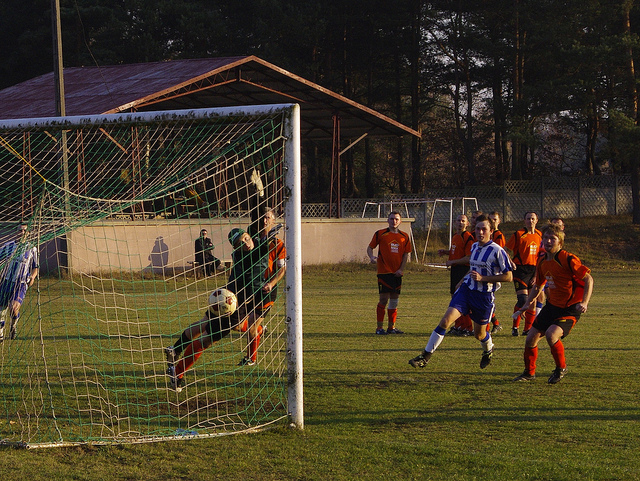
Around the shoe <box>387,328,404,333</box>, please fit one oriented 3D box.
[{"bbox_3d":[1.776,2.137,24.117,0.372,0.169,0.129,-1,-1,-7],"label":"shoe"}]

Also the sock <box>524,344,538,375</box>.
[{"bbox_3d":[4.348,2.475,21.218,0.228,0.631,0.274,1,2,9],"label":"sock"}]

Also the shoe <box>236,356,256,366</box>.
[{"bbox_3d":[-1.564,2.554,21.598,0.416,0.193,0.156,1,0,-5],"label":"shoe"}]

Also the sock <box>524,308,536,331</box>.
[{"bbox_3d":[4.731,1.776,23.068,0.192,0.653,0.202,27,53,23],"label":"sock"}]

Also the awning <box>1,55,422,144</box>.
[{"bbox_3d":[-3.978,-4.968,34.862,6.785,1.475,8.890,-2,-3,38],"label":"awning"}]

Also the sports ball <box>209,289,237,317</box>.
[{"bbox_3d":[-1.986,1.228,20.852,0.519,0.542,0.501,2,5,0],"label":"sports ball"}]

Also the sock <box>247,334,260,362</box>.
[{"bbox_3d":[-1.423,2.302,21.577,0.225,0.530,0.613,1,2,-4],"label":"sock"}]

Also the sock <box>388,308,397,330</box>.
[{"bbox_3d":[1.685,1.857,24.163,0.174,0.468,0.271,1,2,0],"label":"sock"}]

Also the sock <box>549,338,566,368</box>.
[{"bbox_3d":[4.905,2.314,21.147,0.310,0.595,0.439,1,2,13],"label":"sock"}]

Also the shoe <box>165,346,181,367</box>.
[{"bbox_3d":[-2.958,2.323,20.543,0.186,0.408,0.389,2,2,28],"label":"shoe"}]

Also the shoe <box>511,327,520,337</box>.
[{"bbox_3d":[4.601,2.131,24.049,0.162,0.227,0.334,1,2,10],"label":"shoe"}]

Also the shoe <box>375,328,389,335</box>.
[{"bbox_3d":[1.453,2.153,24.017,0.291,0.144,0.119,-3,-3,41],"label":"shoe"}]

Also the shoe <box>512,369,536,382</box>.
[{"bbox_3d":[4.215,2.814,21.128,0.514,0.323,0.191,-1,-4,6],"label":"shoe"}]

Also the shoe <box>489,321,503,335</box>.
[{"bbox_3d":[4.205,2.126,24.378,0.435,0.206,0.143,-33,18,-16],"label":"shoe"}]

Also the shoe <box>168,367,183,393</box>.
[{"bbox_3d":[-2.902,2.804,20.502,0.185,0.597,0.261,-6,20,-9],"label":"shoe"}]

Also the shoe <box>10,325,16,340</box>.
[{"bbox_3d":[-6.905,2.082,22.996,0.117,0.322,0.090,-16,25,-35],"label":"shoe"}]

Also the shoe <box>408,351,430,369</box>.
[{"bbox_3d":[2.010,2.479,21.181,0.470,0.362,0.344,0,2,-25],"label":"shoe"}]

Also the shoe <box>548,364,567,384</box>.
[{"bbox_3d":[4.865,2.787,21.091,0.211,0.527,0.188,49,-15,-26],"label":"shoe"}]

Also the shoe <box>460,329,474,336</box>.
[{"bbox_3d":[3.471,2.199,24.185,0.269,0.100,0.095,1,2,-11],"label":"shoe"}]
